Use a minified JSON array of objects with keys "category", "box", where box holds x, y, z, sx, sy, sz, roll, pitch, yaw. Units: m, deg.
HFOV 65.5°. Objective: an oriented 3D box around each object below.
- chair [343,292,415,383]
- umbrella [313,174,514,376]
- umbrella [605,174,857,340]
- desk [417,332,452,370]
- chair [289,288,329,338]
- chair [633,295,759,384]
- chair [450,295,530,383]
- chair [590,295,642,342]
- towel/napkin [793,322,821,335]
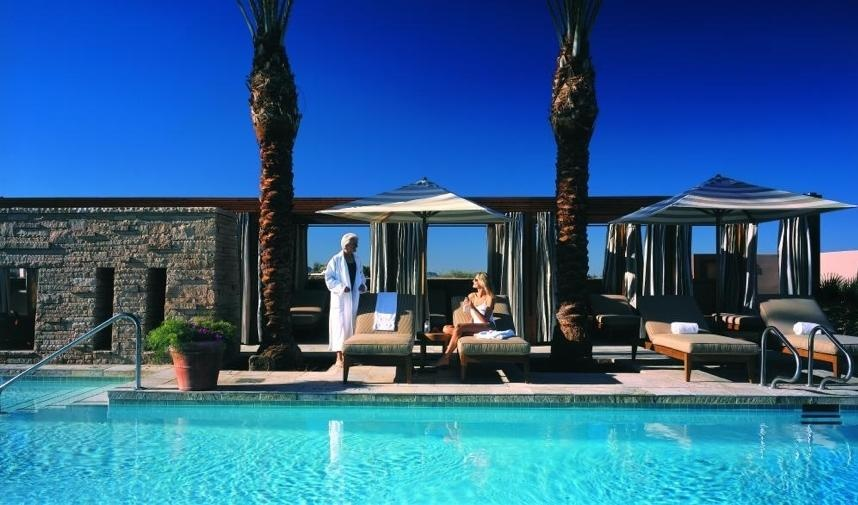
[{"category":"chair","box":[-1.171,1.982,15.589,1.604,2.013,1.237,0,-3,-2]},{"category":"umbrella","box":[-0.257,0.230,17.357,4.580,4.242,4.761,-1,9,-22]},{"category":"umbrella","box":[7.736,0.211,16.893,4.275,2.779,4.397,-4,1,20]},{"category":"desk","box":[0.096,2.258,16.299,0.984,0.890,0.884,-2,16,-17]},{"category":"chair","box":[-3.539,1.842,19.799,0.876,0.903,1.526,0,0,1]},{"category":"chair","box":[6.197,2.007,15.767,1.657,1.955,2.309,2,-4,-28]},{"category":"chair","box":[1.442,1.997,16.322,1.621,1.613,2.810,1,3,0]},{"category":"chair","box":[4.997,1.741,18.185,1.215,1.098,1.876,-1,-1,2]},{"category":"towel/napkin","box":[8.699,1.780,15.644,0.411,0.138,0.394,-2,8,9]}]
